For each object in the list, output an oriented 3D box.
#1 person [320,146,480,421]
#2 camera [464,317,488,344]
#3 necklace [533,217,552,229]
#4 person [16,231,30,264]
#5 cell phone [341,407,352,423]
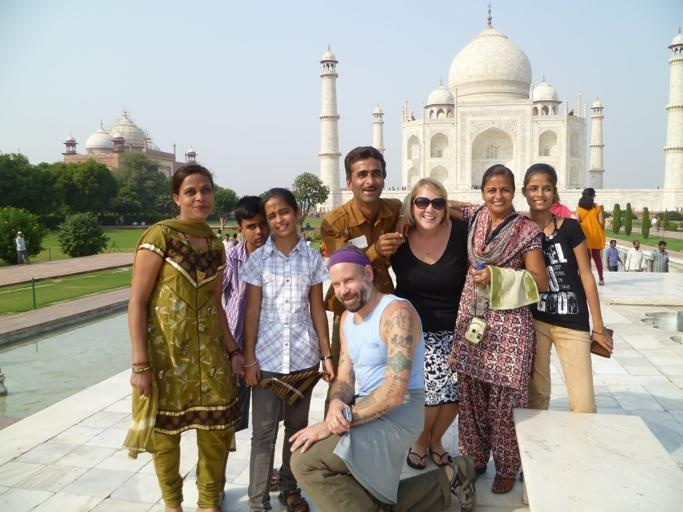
[{"bbox_3d":[0.278,0.229,3.942,0.727,1.845,0.536,2,6,21],"label":"person"},{"bbox_3d":[0.814,0.451,3.655,0.099,0.159,0.082,20,14,16],"label":"camera"},{"bbox_3d":[1.294,-0.214,3.889,0.067,0.059,0.069,0,-6,-4],"label":"necklace"},{"bbox_3d":[-9.406,-0.260,17.932,0.293,0.930,1.160,-2,4,-28],"label":"person"},{"bbox_3d":[0.030,0.835,3.179,0.023,0.071,0.047,-3,-3,-24],"label":"cell phone"}]
